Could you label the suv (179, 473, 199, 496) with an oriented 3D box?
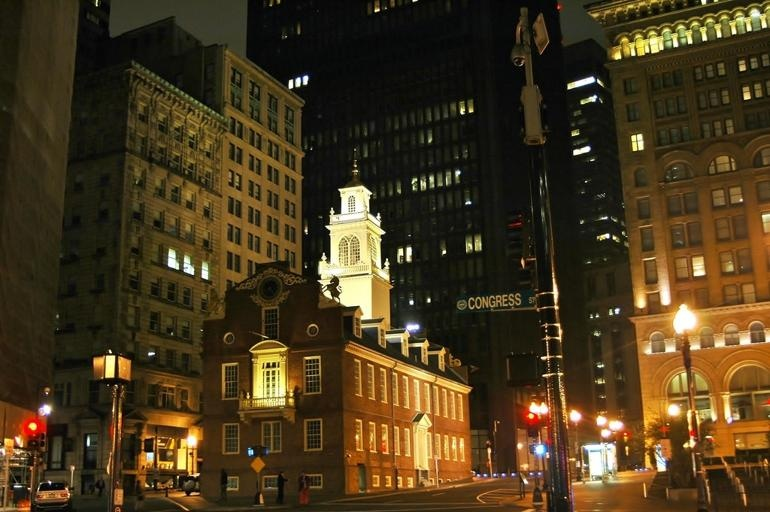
[{"bbox_3d":[-18.455,21.710,88.699,1.801,1.215,2.525,-2,-21,2],"label":"suv"}]
